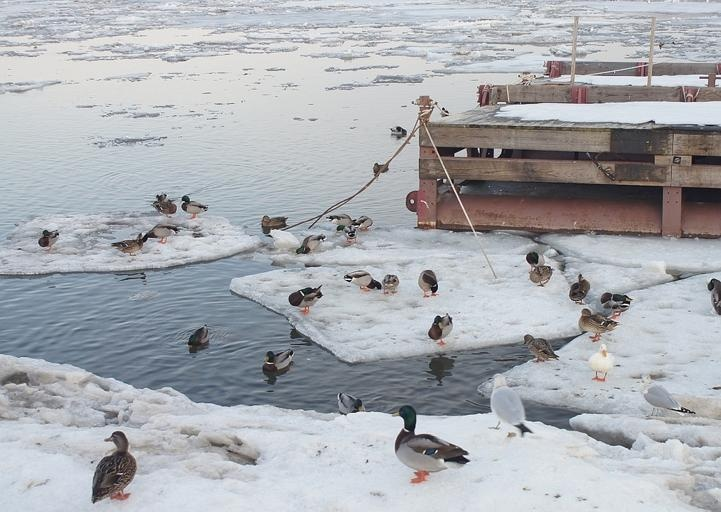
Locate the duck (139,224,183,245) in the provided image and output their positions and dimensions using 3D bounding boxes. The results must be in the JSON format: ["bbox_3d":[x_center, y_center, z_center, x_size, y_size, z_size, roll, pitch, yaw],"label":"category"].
[{"bbox_3d":[-6.781,-0.681,26.484,1.385,0.560,0.475,-22,-17,21],"label":"duck"}]

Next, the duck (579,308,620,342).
[{"bbox_3d":[5.937,1.743,20.228,0.885,0.750,0.787,-2,26,9],"label":"duck"}]

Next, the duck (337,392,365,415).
[{"bbox_3d":[-0.272,3.346,18.187,0.790,0.215,0.425,15,16,42],"label":"duck"}]

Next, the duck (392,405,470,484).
[{"bbox_3d":[1.245,3.703,15.970,2.277,1.034,1.014,3,1,30],"label":"duck"}]

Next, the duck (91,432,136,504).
[{"bbox_3d":[-4.659,4.031,15.094,0.779,1.011,1.248,-4,24,9],"label":"duck"}]

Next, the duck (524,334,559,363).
[{"bbox_3d":[4.365,2.282,19.644,0.609,0.699,0.761,-14,26,-12],"label":"duck"}]

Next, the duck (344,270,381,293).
[{"bbox_3d":[0.059,0.729,22.776,0.980,0.687,0.366,-5,30,1],"label":"duck"}]

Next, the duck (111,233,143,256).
[{"bbox_3d":[-7.381,-0.311,25.545,1.013,0.589,0.507,-14,28,-20],"label":"duck"}]

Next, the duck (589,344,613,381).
[{"bbox_3d":[5.606,2.448,18.766,0.550,0.925,0.706,0,29,16],"label":"duck"}]

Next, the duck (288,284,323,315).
[{"bbox_3d":[-1.501,1.199,22.063,0.926,0.673,0.628,-15,28,-20],"label":"duck"}]

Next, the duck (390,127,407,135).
[{"bbox_3d":[1.859,-6.204,40.294,0.885,0.274,0.627,0,6,4],"label":"duck"}]

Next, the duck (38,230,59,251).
[{"bbox_3d":[-10.113,-0.504,25.908,0.620,0.561,0.617,6,28,25],"label":"duck"}]

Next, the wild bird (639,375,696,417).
[{"bbox_3d":[6.629,3.095,17.269,0.592,0.637,1.416,-19,22,-27],"label":"wild bird"}]

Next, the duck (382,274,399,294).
[{"bbox_3d":[0.803,0.812,22.607,0.460,0.587,0.518,-9,27,-1],"label":"duck"}]

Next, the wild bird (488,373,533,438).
[{"bbox_3d":[3.079,2.993,16.200,0.752,0.976,1.789,-29,13,15],"label":"wild bird"}]

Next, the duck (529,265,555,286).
[{"bbox_3d":[5.065,0.551,22.587,0.733,0.635,0.399,-11,29,-9],"label":"duck"}]

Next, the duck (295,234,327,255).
[{"bbox_3d":[-1.612,-0.373,25.354,1.157,0.323,0.488,-22,20,-24],"label":"duck"}]
